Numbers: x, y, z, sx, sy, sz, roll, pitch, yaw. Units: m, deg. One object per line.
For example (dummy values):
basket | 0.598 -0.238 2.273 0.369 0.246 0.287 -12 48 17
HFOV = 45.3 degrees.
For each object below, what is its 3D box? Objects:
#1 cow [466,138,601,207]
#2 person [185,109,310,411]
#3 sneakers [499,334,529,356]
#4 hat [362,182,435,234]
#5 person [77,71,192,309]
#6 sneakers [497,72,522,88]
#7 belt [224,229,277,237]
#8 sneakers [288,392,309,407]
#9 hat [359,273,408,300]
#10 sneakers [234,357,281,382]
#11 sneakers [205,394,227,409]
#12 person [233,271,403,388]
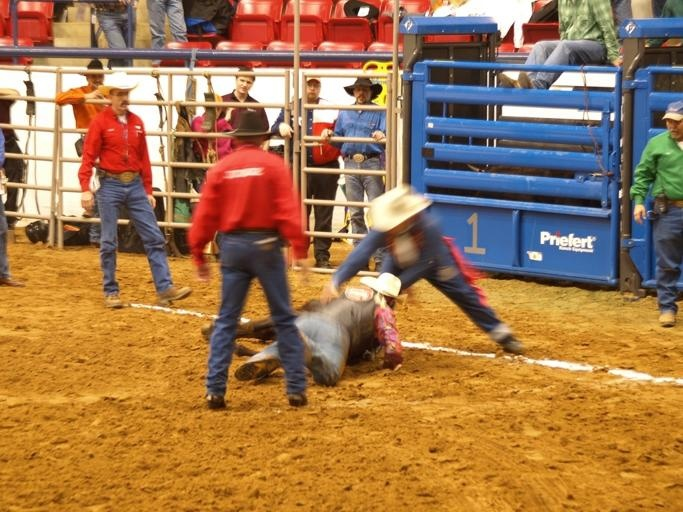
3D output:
cow | 2.207 -0.975 9.368 1.560 0.762 0.293 4 4 34
person | -0.690 0.034 6.198 0.928 2.277 0.375 2 4 -3
sneakers | 1.572 0.820 7.493 0.265 0.144 0.255 28 1 23
hat | 0.494 -0.443 6.906 0.451 0.148 0.472 -25 12 19
person | -2.240 -0.705 8.680 1.010 2.495 0.399 1 4 -14
sneakers | 1.900 -2.002 9.258 0.122 0.187 0.319 -2 5 -42
belt | -0.657 -0.185 6.085 0.390 0.047 0.070 1 3 0
sneakers | -0.334 1.104 6.305 0.083 0.073 0.175 -1 -30 -2
hat | 0.374 0.243 7.112 0.252 0.099 0.291 23 0 35
sneakers | -0.680 0.906 6.661 0.395 0.136 0.150 -6 17 -23
sneakers | -0.962 1.112 6.255 0.089 0.060 0.155 1 -1 7
person | -0.158 0.598 6.776 0.959 0.456 1.314 8 8 41
